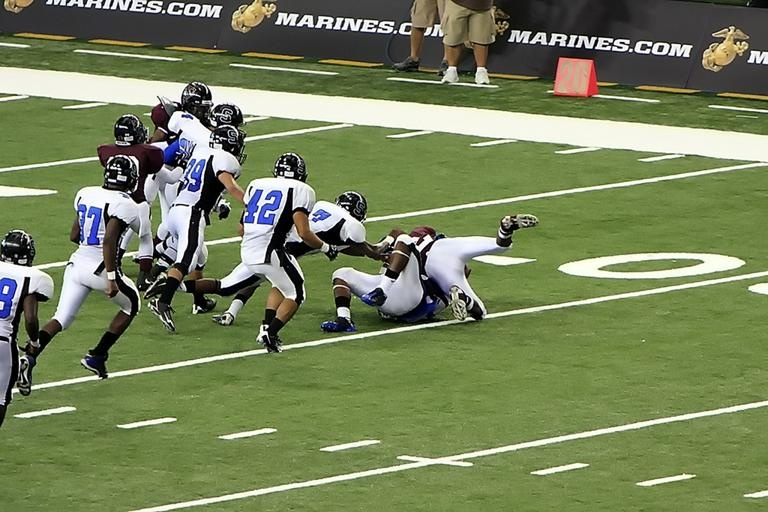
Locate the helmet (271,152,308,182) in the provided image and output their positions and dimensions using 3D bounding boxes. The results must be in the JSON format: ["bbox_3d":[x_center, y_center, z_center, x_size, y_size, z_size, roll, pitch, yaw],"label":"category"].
[{"bbox_3d":[-0.851,-0.840,11.109,0.384,0.292,0.372,10,18,6],"label":"helmet"}]

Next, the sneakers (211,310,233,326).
[{"bbox_3d":[-1.597,0.624,11.676,0.111,0.088,0.274,19,-5,-35],"label":"sneakers"}]

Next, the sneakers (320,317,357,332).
[{"bbox_3d":[-0.454,0.687,11.527,0.412,0.113,0.126,3,-11,-7],"label":"sneakers"}]

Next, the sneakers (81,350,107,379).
[{"bbox_3d":[-2.540,0.937,10.287,0.237,0.270,0.279,4,10,-12],"label":"sneakers"}]

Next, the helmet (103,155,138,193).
[{"bbox_3d":[-2.300,-0.709,10.246,0.273,0.322,0.219,4,11,-15],"label":"helmet"}]

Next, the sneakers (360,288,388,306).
[{"bbox_3d":[-0.098,0.404,11.523,0.316,0.181,0.107,6,54,-34],"label":"sneakers"}]
